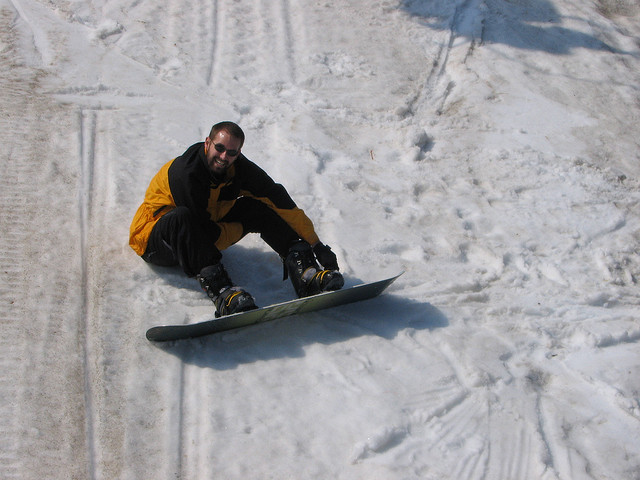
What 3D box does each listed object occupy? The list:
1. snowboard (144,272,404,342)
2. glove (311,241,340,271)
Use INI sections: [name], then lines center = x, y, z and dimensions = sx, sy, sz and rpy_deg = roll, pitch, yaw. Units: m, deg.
[snowboard]
center = -0.508, 0.687, 8.263
dimensions = 1.905, 0.266, 0.120
rpy_deg = -14, 69, -17
[glove]
center = 0.037, 0.188, 8.675
dimensions = 0.218, 0.105, 0.326
rpy_deg = -31, 79, -22
